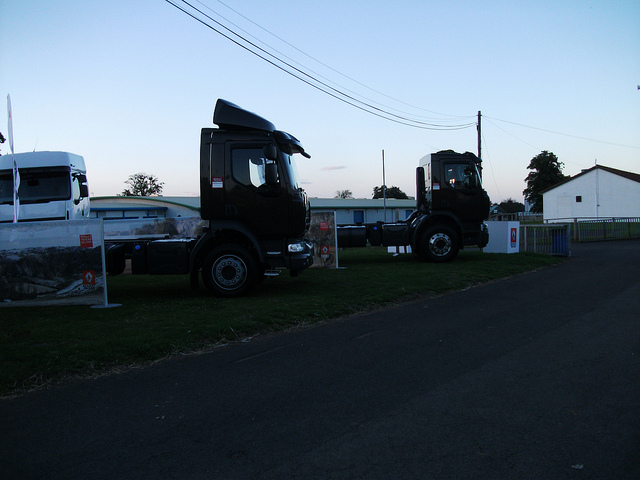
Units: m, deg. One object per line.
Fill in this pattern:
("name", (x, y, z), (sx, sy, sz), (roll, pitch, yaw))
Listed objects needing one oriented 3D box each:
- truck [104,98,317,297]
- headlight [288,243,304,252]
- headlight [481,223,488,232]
("truck", (-3.202, -0.794, 12.302), (5.941, 4.655, 3.171), (-3, 3, -1))
("headlight", (-0.548, 0.165, 10.565), (0.219, 0.112, 0.179), (-4, 3, 8))
("headlight", (6.136, -0.464, 17.418), (0.286, 0.297, 0.169), (0, 4, -20))
